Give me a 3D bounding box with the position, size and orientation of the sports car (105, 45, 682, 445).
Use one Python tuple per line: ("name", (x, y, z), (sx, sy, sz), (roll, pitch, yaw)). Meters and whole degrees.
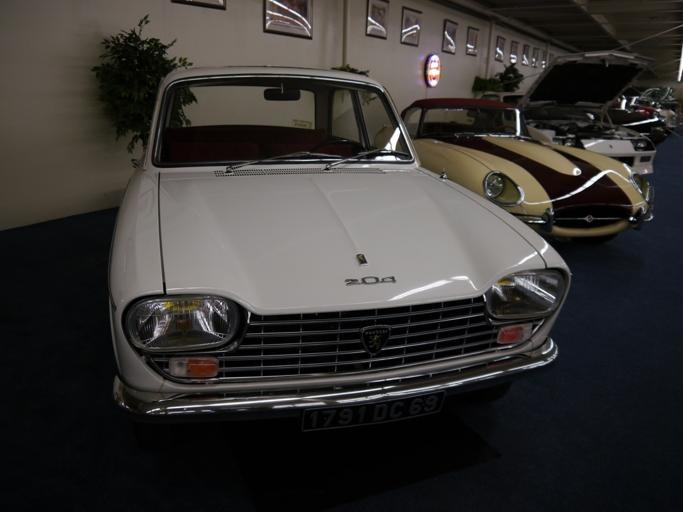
("sports car", (-0.283, -0.294, 3.081), (1.618, 1.124, 2.684), (-1, 18, -11))
